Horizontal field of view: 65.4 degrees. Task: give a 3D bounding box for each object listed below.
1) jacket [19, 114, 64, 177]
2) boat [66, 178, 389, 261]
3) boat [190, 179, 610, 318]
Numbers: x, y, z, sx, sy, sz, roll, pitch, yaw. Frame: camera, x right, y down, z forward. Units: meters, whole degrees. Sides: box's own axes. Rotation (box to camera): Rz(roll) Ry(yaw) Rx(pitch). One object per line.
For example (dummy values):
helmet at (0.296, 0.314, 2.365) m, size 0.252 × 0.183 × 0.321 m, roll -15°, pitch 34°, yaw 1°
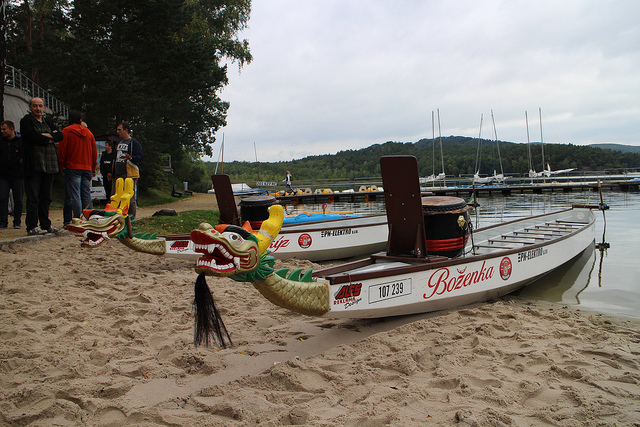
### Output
jacket at (-5.978, -1.438, 10.717) m, size 0.830 × 1.309 × 0.685 m, roll -8°, pitch 6°, yaw -31°
boat at (-1.762, 0.259, 12.436) m, size 7.978 × 2.198 × 1.484 m, roll 0°, pitch -2°, yaw -20°
boat at (1.488, 0.754, 8.544) m, size 7.338 × 2.206 × 0.743 m, roll -6°, pitch 6°, yaw -27°
